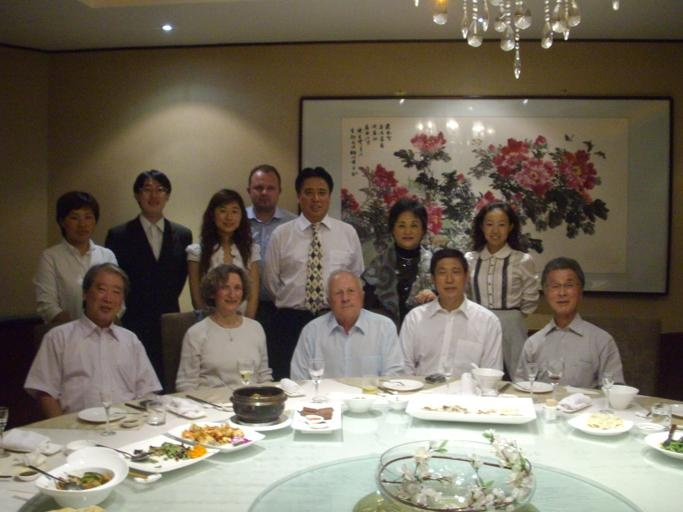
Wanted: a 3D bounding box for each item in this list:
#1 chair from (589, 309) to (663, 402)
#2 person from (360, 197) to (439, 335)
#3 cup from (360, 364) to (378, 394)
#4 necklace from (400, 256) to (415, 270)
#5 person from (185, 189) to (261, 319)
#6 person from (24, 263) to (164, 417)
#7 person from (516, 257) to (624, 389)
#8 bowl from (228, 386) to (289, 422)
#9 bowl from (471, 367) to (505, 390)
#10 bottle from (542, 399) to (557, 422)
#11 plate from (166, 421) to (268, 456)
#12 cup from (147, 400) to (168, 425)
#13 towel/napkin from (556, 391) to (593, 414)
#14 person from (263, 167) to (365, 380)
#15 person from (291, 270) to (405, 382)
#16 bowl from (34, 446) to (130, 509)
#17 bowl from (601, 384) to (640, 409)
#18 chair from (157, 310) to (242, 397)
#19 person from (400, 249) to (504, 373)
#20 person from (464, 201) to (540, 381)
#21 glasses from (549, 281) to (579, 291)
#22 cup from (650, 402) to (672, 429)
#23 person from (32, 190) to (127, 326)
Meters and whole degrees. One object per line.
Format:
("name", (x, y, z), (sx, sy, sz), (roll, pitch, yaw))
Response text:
("chair", (1.935, 0.625, 3.607), (0.295, 0.524, 0.380), (-11, 7, -29))
("person", (0.467, 0.148, 4.173), (0.677, 1.176, 0.380), (1, 17, 3))
("cup", (0.103, 0.591, 2.684), (0.091, 0.135, 0.082), (1, -13, -2))
("necklace", (0.478, 0.049, 4.098), (0.109, 0.103, 0.103), (-1, 32, 3))
("person", (-0.854, 0.285, 4.013), (0.594, 1.466, 0.395), (1, -1, -12))
("person", (-1.326, 0.471, 3.066), (0.468, 0.832, 0.755), (-22, -23, 40))
("person", (1.469, 0.413, 3.615), (0.730, 0.925, 0.364), (-2, -8, 36))
("bowl", (-0.367, 0.641, 2.411), (0.226, 0.116, 0.241), (3, -3, 0))
("bowl", (0.689, 0.578, 2.681), (0.116, 0.069, 0.114), (-1, -2, 0))
("bottle", (0.917, 0.685, 2.469), (0.076, 0.090, 0.076), (-1, -6, 21))
("plate", (-0.503, 0.702, 2.182), (0.211, 0.029, 0.158), (5, 6, 26))
("cup", (-0.787, 0.676, 2.423), (0.088, 0.098, 0.088), (1, -5, 0))
("towel/napkin", (1.055, 0.669, 2.554), (0.116, 0.031, 0.084), (-8, 12, -36))
("person", (-0.202, 0.434, 4.155), (0.732, 2.116, 0.649), (0, 8, -8))
("person", (0.028, 0.446, 3.317), (0.731, 0.639, 0.391), (-2, 2, 1))
("bowl", (-0.861, 0.747, 1.909), (0.173, 0.063, 0.198), (5, 12, 9))
("bowl", (1.284, 0.636, 2.556), (0.128, 0.057, 0.127), (-1, 1, 0))
("chair", (-0.899, 0.625, 3.374), (0.310, 0.551, 0.322), (1, 0, 23))
("person", (0.676, 0.447, 3.522), (0.702, 0.983, 0.538), (-1, -14, 17))
("person", (1.138, 0.452, 4.173), (0.633, 1.647, 0.602), (0, 9, 8))
("glasses", (1.317, 0.172, 3.318), (0.150, 0.060, 0.031), (3, 14, 7))
("cup", (1.399, 0.696, 2.460), (0.074, 0.045, 0.114), (-3, 14, 11))
("person", (-1.781, 0.058, 3.906), (0.567, 0.978, 0.582), (7, 7, 35))
